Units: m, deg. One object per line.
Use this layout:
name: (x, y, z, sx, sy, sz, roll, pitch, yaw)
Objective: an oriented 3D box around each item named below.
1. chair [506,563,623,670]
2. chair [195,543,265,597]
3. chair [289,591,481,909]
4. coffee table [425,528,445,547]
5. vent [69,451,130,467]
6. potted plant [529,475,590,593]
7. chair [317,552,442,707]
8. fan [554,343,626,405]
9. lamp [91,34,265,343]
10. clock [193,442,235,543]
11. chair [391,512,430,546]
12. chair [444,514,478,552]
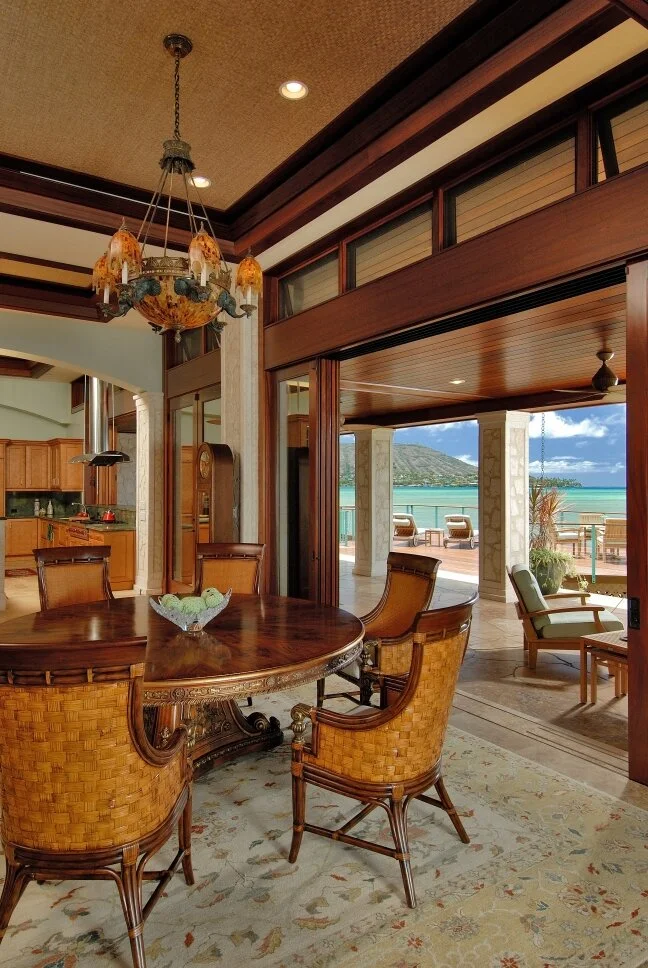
chair: (1.663, 0.905, 4.862, 0.777, 0.608, 0.574, -1, 1, 5)
chair: (-0.521, 0.460, 3.813, 0.264, 0.414, 0.300, 0, -2, -5)
chair: (0.191, 0.785, 2.313, 0.534, 0.797, 0.526, 2, 3, 16)
coffee table: (2.210, 1.090, 14.131, 0.431, 0.419, 0.323, 3, 7, 28)
vent: (-2.995, -0.327, 9.262, 0.580, 0.142, 1.988, 0, 0, -20)
potted plant: (2.246, 0.592, 7.276, 0.602, 1.111, 0.548, 2, 8, 27)
chair: (0.274, 0.746, 3.361, 0.464, 0.779, 0.472, -3, 2, -29)
fan: (2.266, -0.942, 5.986, 0.482, 0.238, 0.406, 0, -10, 7)
lamp: (-0.583, -1.208, 2.774, 0.630, 1.215, 0.613, 0, -1, -6)
clock: (-0.826, 0.079, 5.275, 0.292, 0.733, 1.098, -1, 0, -12)
chair: (1.623, 0.890, 13.277, 0.520, 0.479, 1.055, 1, 3, 21)
chair: (2.535, 0.895, 13.072, 0.376, 0.489, 1.161, 0, 2, 17)
